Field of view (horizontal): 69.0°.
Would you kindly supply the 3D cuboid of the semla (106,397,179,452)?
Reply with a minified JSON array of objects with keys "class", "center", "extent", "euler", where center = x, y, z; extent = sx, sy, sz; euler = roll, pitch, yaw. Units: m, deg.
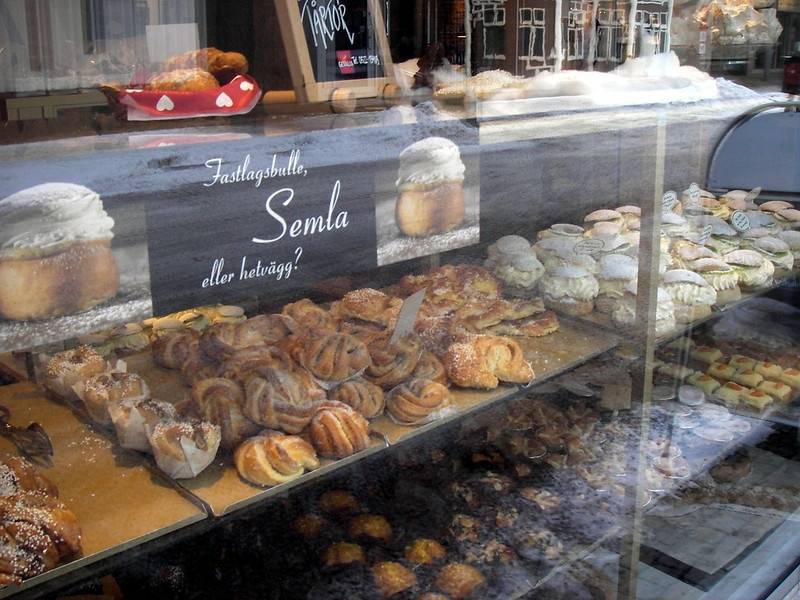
[{"class":"semla","center":[-0.530,0.250,1.205],"extent":[0.131,0.039,0.132],"euler":[1,22,-15]}]

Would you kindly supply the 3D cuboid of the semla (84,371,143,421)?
[{"class":"semla","center":[-0.589,0.212,1.267],"extent":[0.153,0.056,0.118],"euler":[3,17,-5]}]

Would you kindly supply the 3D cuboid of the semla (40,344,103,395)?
[{"class":"semla","center":[-0.664,0.138,1.218],"extent":[0.114,0.036,0.126],"euler":[17,28,23]}]
